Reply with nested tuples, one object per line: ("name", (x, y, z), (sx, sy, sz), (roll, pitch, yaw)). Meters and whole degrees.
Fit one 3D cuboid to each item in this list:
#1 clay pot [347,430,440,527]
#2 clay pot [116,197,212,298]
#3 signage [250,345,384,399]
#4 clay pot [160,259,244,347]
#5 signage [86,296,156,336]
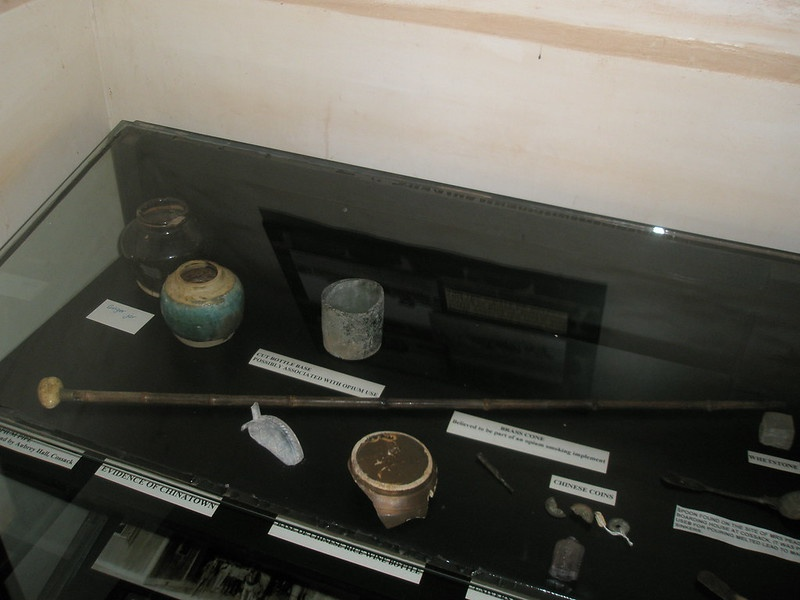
("clay pot", (-0.010, 0.423, 1.787), (0.191, 0.081, 0.229), (-16, 47, -12))
("clay pot", (-0.709, -0.173, 2.267), (0.274, 0.253, 0.271), (7, 37, -5))
("signage", (-0.216, 0.204, 2.020), (0.346, 0.003, 0.066), (16, 45, 11))
("clay pot", (-0.537, 0.016, 2.139), (0.248, 0.202, 0.233), (5, 32, -3))
("signage", (-0.804, 0.049, 2.110), (0.155, 0.036, 0.092), (12, 47, 14))
